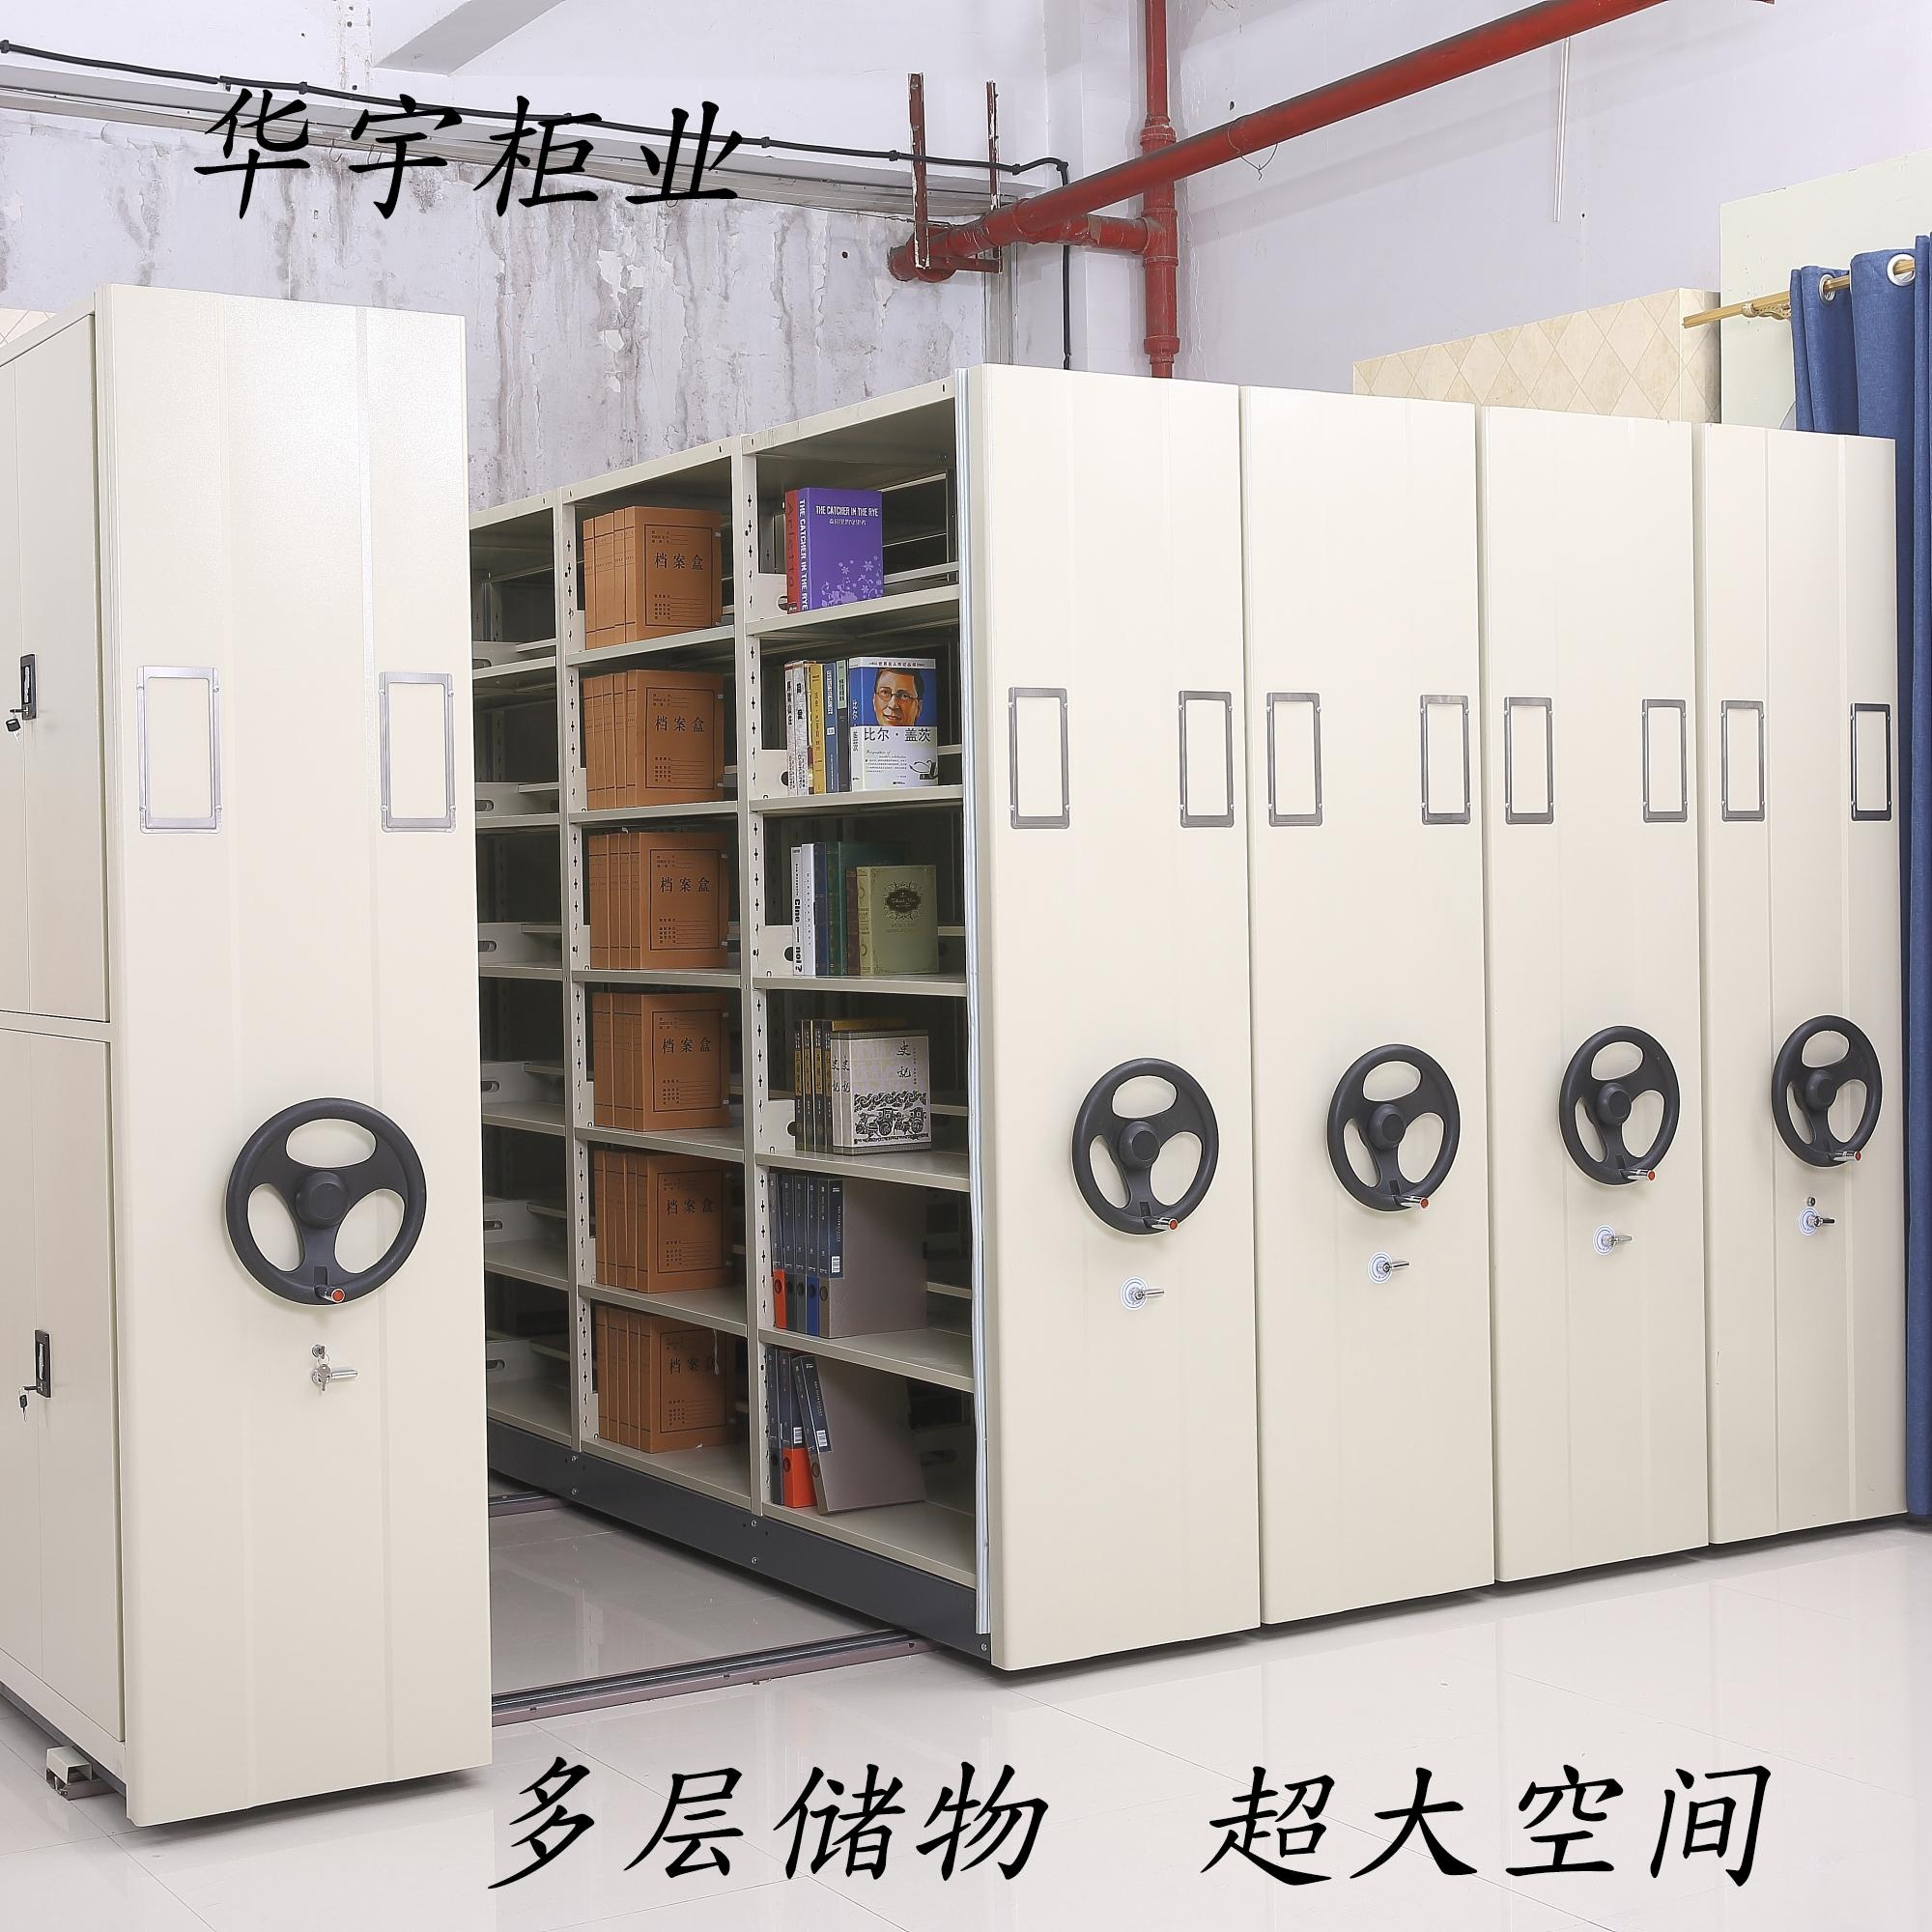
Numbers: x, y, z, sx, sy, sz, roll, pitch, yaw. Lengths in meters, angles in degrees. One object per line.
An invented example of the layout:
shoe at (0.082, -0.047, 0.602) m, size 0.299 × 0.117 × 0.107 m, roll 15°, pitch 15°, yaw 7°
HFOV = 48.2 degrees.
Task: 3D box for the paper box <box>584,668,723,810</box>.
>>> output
paper box at (-0.698, -0.478, 4.957) m, size 0.413 × 0.307 × 0.373 m, roll -1°, pitch -87°, yaw -25°

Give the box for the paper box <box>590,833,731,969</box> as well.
paper box at (-0.721, -0.155, 4.999) m, size 0.410 × 0.299 × 0.362 m, roll -2°, pitch -87°, yaw -29°
